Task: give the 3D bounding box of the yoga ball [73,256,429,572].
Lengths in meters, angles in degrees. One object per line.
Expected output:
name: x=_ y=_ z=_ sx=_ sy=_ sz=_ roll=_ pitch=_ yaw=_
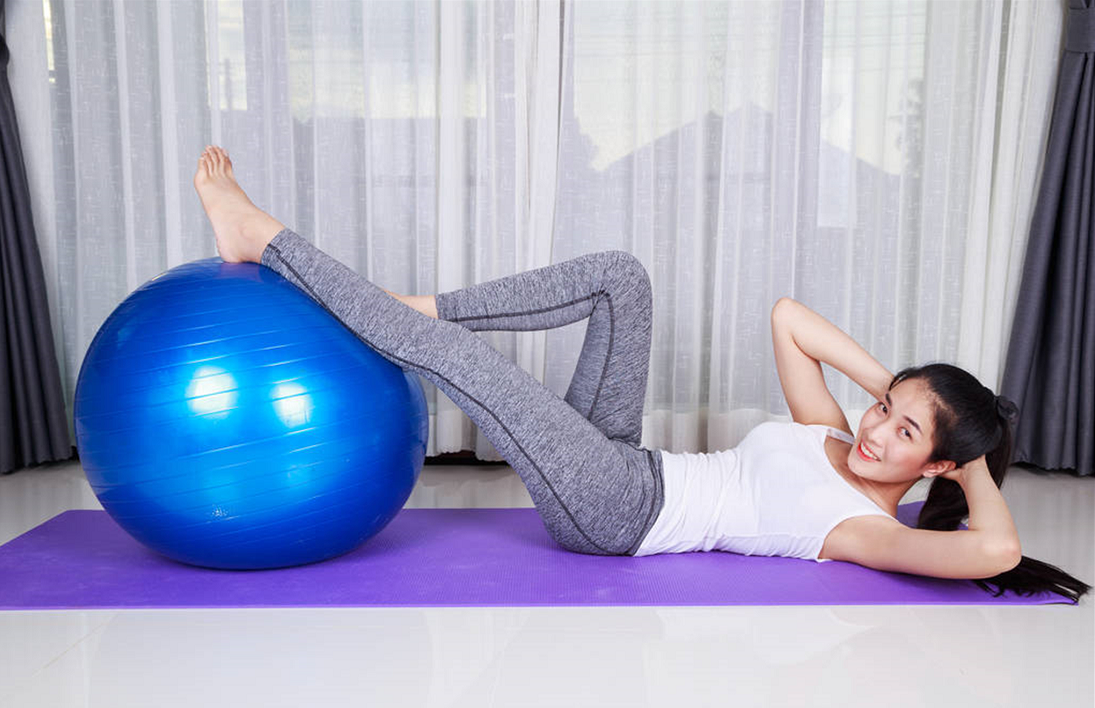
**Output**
yoga ball: x=-0.921 y=0.319 z=2.669 sx=1.003 sy=0.751 sz=0.946 roll=0 pitch=15 yaw=0
